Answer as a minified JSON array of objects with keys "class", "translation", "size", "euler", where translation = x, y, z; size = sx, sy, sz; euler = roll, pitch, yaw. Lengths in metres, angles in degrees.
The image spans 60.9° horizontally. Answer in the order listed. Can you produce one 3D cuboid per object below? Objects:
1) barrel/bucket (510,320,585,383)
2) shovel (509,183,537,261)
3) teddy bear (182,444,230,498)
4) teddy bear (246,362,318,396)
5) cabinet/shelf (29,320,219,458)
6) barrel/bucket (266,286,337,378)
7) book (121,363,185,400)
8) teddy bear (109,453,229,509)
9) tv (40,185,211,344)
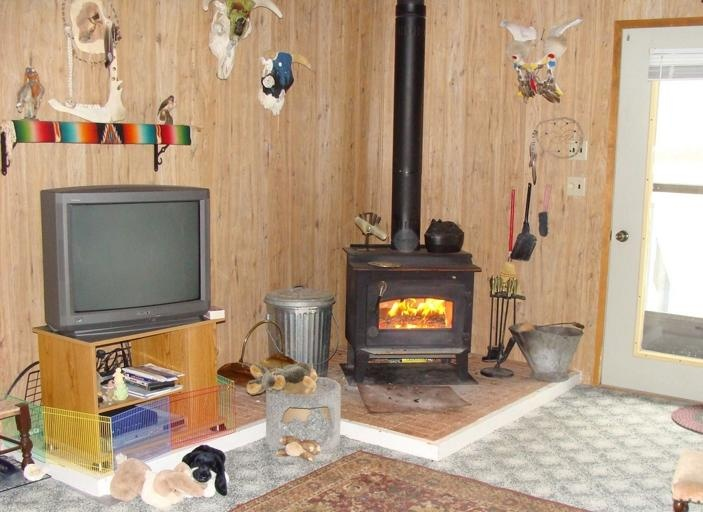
[{"class":"barrel/bucket","translation":[1.432,0.681,4.352],"size":[0.552,0.406,0.412],"euler":[-3,8,-23]},{"class":"shovel","translation":[1.325,-0.257,4.591],"size":[0.190,0.602,0.106],"euler":[3,8,20]},{"class":"teddy bear","translation":[-0.751,1.074,3.062],"size":[0.253,0.185,0.326],"euler":[15,3,-14]},{"class":"teddy bear","translation":[-0.399,0.711,3.433],"size":[0.324,0.111,0.263],"euler":[1,2,-5]},{"class":"cabinet/shelf","translation":[-1.389,0.647,3.546],"size":[0.484,0.575,0.769],"euler":[3,10,22]},{"class":"barrel/bucket","translation":[-0.337,0.534,4.471],"size":[0.581,0.700,0.589],"euler":[-1,4,0]},{"class":"book","translation":[-1.155,0.710,3.417],"size":[0.203,0.073,0.203],"euler":[9,8,31]},{"class":"teddy bear","translation":[-0.871,1.110,2.936],"size":[0.573,0.241,0.205],"euler":[1,-4,17]},{"class":"tv","translation":[-1.342,0.058,3.568],"size":[0.891,0.797,0.541],"euler":[-3,-5,-37]}]
